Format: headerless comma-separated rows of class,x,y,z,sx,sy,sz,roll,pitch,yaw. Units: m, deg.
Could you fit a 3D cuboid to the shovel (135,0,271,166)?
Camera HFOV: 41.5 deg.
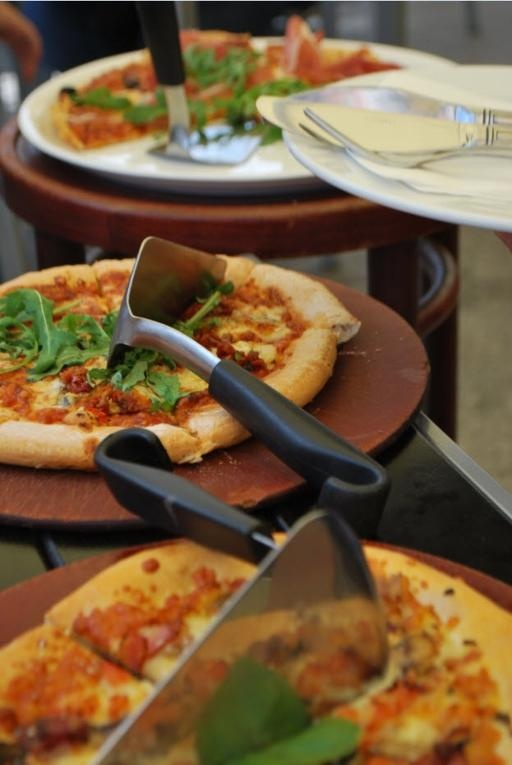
shovel,-0.079,-0.429,0.975,0.178,0.285,0.055,-3,59,11

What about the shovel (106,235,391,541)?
shovel,-0.008,-0.006,0.553,0.113,0.154,0.353,-26,41,-22
